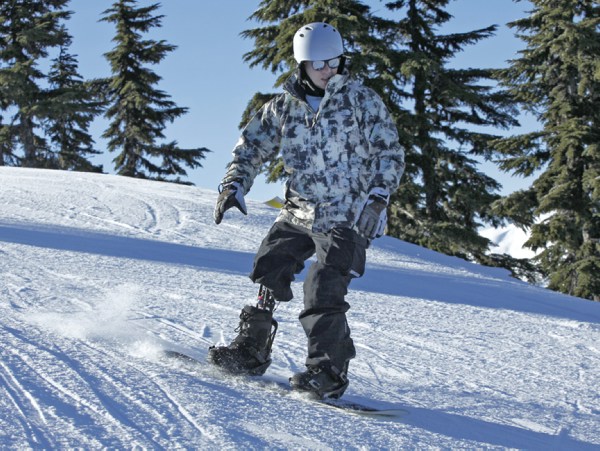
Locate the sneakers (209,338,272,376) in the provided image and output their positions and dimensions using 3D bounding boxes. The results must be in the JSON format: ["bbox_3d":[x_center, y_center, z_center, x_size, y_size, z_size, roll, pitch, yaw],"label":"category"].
[{"bbox_3d":[-0.482,1.076,6.004,0.450,0.180,0.239,13,34,-7],"label":"sneakers"}]

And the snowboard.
[{"bbox_3d":[-0.203,1.240,5.752,1.973,0.108,0.262,9,6,25],"label":"snowboard"}]

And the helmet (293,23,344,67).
[{"bbox_3d":[0.105,-1.466,6.166,0.334,0.287,0.425,-2,-13,-34],"label":"helmet"}]
